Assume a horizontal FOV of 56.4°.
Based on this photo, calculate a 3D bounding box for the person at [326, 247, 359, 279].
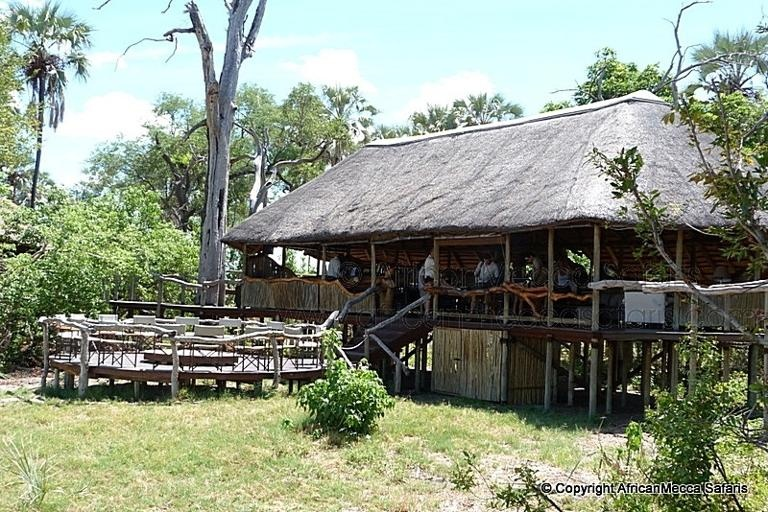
[{"bbox_3d":[-1.620,0.289,24.972,1.190,1.213,0.916,-4,-4,36],"label":"person"}]

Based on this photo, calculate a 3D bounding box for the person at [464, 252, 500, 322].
[{"bbox_3d":[2.912,0.820,21.026,0.761,1.577,0.820,21,27,38],"label":"person"}]
